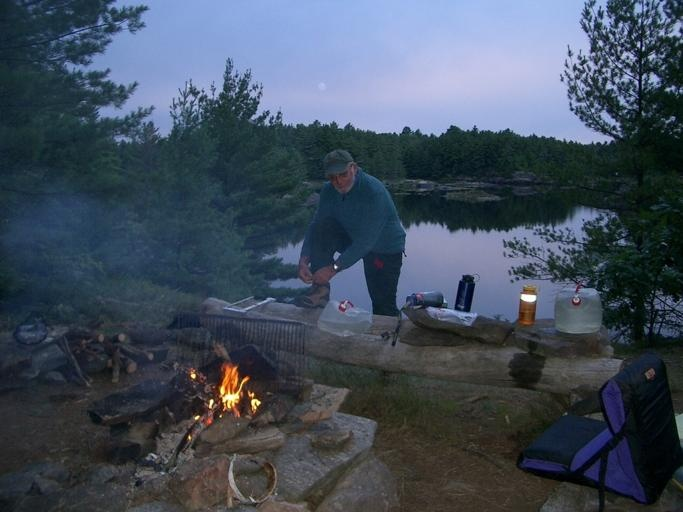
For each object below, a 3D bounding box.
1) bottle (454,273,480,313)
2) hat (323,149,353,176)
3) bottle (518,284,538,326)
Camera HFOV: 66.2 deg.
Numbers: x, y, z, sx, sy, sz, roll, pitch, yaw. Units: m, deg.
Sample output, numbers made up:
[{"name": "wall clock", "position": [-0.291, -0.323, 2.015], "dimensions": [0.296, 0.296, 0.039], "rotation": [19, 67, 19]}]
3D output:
[{"name": "bottle", "position": [1.883, 0.574, 7.947], "dimensions": [0.289, 0.570, 0.465], "rotation": [4, 6, 13]}, {"name": "hat", "position": [-0.059, -1.490, 8.129], "dimensions": [0.313, 0.275, 0.459], "rotation": [-15, 25, 23]}, {"name": "bottle", "position": [2.505, 0.667, 7.063], "dimensions": [0.212, 0.551, 0.367], "rotation": [4, 6, 19]}]
